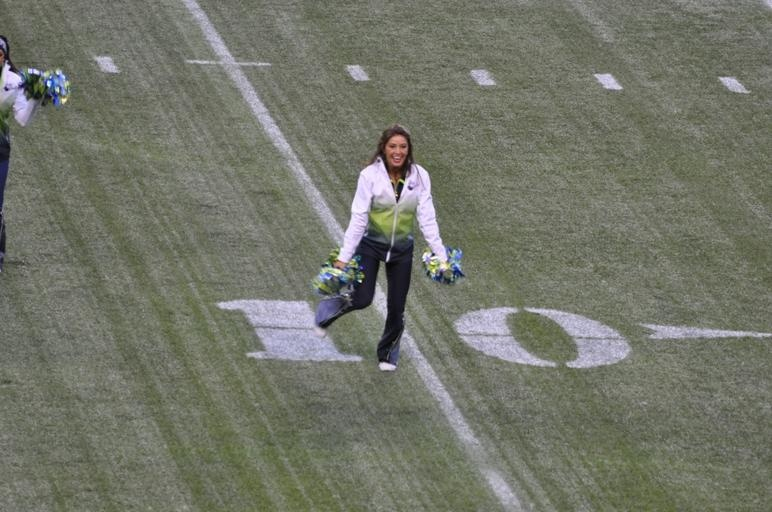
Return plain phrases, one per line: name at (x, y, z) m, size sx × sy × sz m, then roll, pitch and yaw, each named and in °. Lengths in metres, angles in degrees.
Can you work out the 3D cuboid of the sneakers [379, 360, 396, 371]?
sneakers at (0.003, 1.263, 23.110) m, size 0.172 × 0.051 × 0.118 m, roll 8°, pitch 92°, yaw -13°
